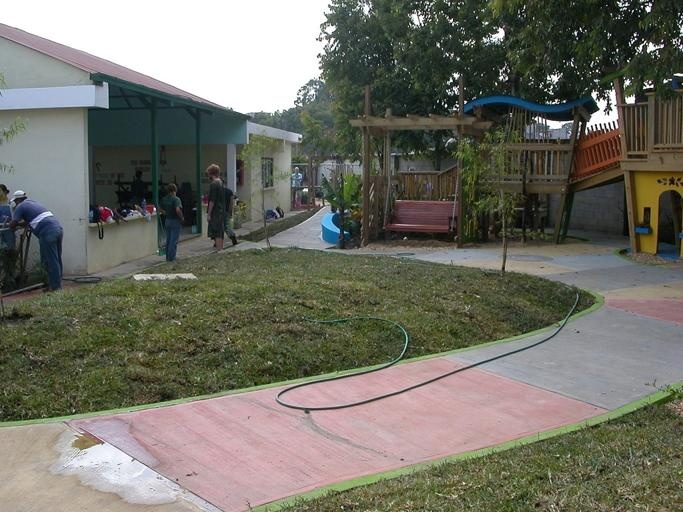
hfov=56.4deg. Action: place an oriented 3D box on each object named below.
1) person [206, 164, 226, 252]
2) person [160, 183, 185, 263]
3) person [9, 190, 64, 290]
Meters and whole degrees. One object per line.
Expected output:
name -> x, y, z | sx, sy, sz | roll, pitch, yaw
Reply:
person -> -3.017, -1.078, 15.265 | 0.409, 2.116, 1.120 | -1, 13, -12
person -> -3.734, -0.672, 13.998 | 0.447, 1.734, 1.555 | -2, 14, -16
person -> -5.192, -0.116, 10.875 | 0.696, 1.582, 0.819 | -1, 13, -14
